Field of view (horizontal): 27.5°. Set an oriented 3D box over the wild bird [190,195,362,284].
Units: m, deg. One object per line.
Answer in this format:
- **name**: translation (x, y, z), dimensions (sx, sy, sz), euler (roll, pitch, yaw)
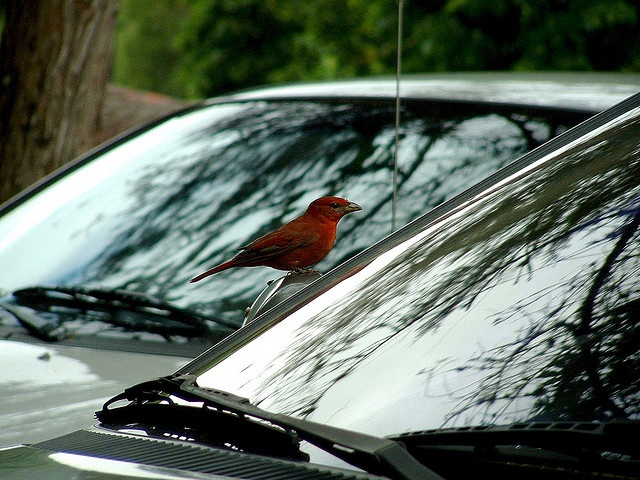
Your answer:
- **wild bird**: translation (-0.116, -0.004, 3.924), dimensions (0.579, 0.187, 0.146), euler (-7, -5, 23)
